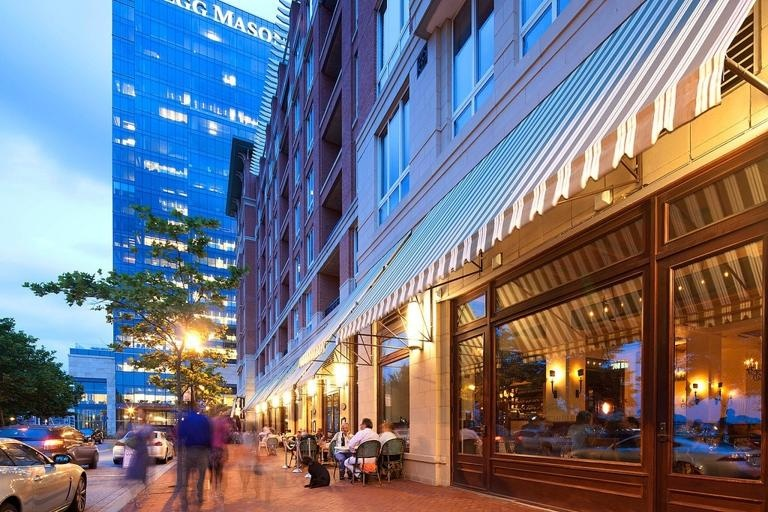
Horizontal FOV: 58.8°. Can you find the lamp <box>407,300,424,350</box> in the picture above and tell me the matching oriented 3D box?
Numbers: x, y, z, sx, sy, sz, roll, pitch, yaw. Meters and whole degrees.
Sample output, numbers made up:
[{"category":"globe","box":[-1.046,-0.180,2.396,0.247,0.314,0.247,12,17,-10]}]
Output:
[{"category":"lamp","box":[0.810,1.785,17.862,0.369,1.278,1.138,1,-23,-5]}]

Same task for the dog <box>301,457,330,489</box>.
[{"category":"dog","box":[-1.692,5.696,17.643,0.798,0.964,0.545,2,-23,1]}]

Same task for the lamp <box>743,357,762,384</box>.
[{"category":"lamp","box":[5.589,1.745,10.320,0.235,0.424,0.265,3,-11,-21]}]
